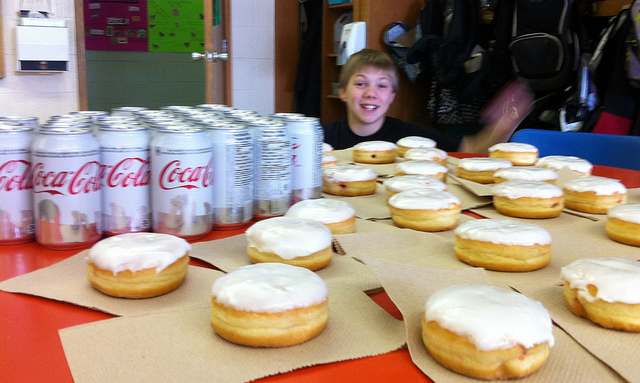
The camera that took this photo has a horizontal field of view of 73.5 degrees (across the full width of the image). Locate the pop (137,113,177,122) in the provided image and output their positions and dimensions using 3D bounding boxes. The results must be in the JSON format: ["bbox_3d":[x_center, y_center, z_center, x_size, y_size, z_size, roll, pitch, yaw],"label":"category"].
[{"bbox_3d":[-0.379,-0.172,0.981,0.062,0.012,0.054,-1,6,-15],"label":"pop"}]

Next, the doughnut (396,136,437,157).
[{"bbox_3d":[0.360,-0.170,1.597,0.108,0.042,0.102,-6,10,-36],"label":"doughnut"}]

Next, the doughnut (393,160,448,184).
[{"bbox_3d":[0.299,-0.068,1.265,0.103,0.037,0.095,5,10,23],"label":"doughnut"}]

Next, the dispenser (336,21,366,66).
[{"bbox_3d":[0.259,-1.156,3.408,0.151,0.339,0.401,6,17,-17],"label":"dispenser"}]

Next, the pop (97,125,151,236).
[{"bbox_3d":[-0.390,-0.021,0.851,0.107,0.214,0.081,-5,23,-16],"label":"pop"}]

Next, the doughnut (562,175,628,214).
[{"bbox_3d":[0.704,0.001,1.108,0.129,0.058,0.116,-7,13,-24],"label":"doughnut"}]

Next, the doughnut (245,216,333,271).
[{"bbox_3d":[-0.064,0.091,0.851,0.195,0.080,0.172,1,17,-11],"label":"doughnut"}]

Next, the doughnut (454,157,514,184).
[{"bbox_3d":[0.487,-0.068,1.273,0.121,0.038,0.106,-4,6,-11],"label":"doughnut"}]

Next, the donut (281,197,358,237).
[{"bbox_3d":[0.008,0.041,0.911,0.114,0.042,0.099,-2,11,-16],"label":"donut"}]

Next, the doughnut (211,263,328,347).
[{"bbox_3d":[-0.079,0.168,0.691,0.197,0.079,0.184,6,11,24],"label":"doughnut"}]

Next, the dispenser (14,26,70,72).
[{"bbox_3d":[-1.211,-0.643,1.961,0.283,0.211,0.144,7,9,15],"label":"dispenser"}]

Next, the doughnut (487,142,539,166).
[{"bbox_3d":[0.658,-0.129,1.429,0.112,0.047,0.112,7,12,41],"label":"doughnut"}]

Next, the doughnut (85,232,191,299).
[{"bbox_3d":[-0.328,0.126,0.755,0.181,0.069,0.158,4,5,-5],"label":"doughnut"}]

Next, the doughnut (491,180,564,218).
[{"bbox_3d":[0.505,0.009,1.061,0.126,0.050,0.110,-2,8,-5],"label":"doughnut"}]

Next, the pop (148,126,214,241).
[{"bbox_3d":[-0.281,-0.012,0.858,0.129,0.230,0.070,-4,23,-15],"label":"pop"}]

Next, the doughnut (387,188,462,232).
[{"bbox_3d":[0.233,0.029,0.965,0.130,0.051,0.112,-2,10,-14],"label":"doughnut"}]

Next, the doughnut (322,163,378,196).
[{"bbox_3d":[0.086,-0.038,1.184,0.114,0.044,0.103,-4,9,-23],"label":"doughnut"}]

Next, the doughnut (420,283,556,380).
[{"bbox_3d":[0.244,0.181,0.610,0.146,0.057,0.139,4,11,32],"label":"doughnut"}]

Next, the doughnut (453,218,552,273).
[{"bbox_3d":[0.363,0.098,0.866,0.197,0.078,0.180,4,8,10],"label":"doughnut"}]

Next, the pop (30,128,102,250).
[{"bbox_3d":[-0.485,-0.004,0.818,0.133,0.231,0.080,-7,23,-21],"label":"pop"}]

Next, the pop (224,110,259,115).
[{"bbox_3d":[-0.204,-0.207,1.113,0.045,0.009,0.043,2,4,16],"label":"pop"}]
